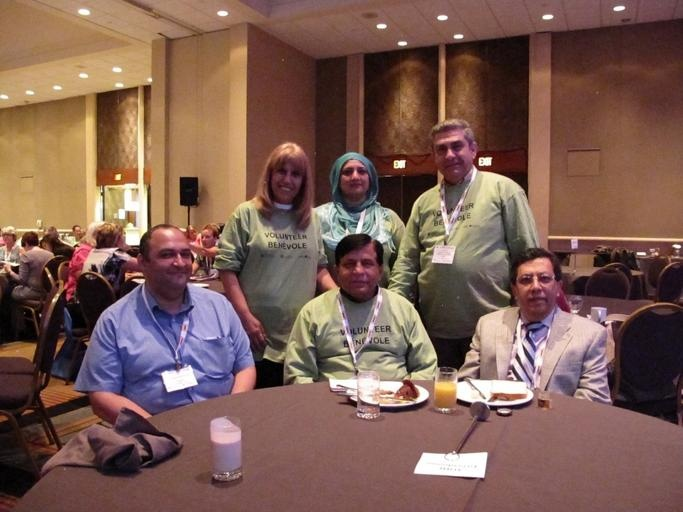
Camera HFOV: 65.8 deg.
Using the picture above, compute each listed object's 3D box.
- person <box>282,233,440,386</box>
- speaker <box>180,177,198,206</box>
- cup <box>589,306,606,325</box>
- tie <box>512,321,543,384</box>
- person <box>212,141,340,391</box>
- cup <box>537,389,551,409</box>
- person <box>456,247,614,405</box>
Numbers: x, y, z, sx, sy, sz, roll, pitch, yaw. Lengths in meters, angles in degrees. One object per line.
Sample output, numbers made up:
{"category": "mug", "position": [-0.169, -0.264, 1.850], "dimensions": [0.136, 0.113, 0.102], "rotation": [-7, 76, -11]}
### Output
{"category": "person", "position": [0.085, 0.300, 2.642], "dimensions": [0.726, 0.805, 0.420], "rotation": [0, -1, 2]}
{"category": "speaker", "position": [-2.606, -1.058, 9.012], "dimensions": [0.287, 0.496, 0.115], "rotation": [-1, 7, -11]}
{"category": "cup", "position": [1.597, 0.379, 3.305], "dimensions": [0.084, 0.095, 0.161], "rotation": [11, -3, 20]}
{"category": "tie", "position": [0.864, 0.446, 2.459], "dimensions": [0.119, 0.258, 0.163], "rotation": [5, 9, 35]}
{"category": "person", "position": [-0.366, 0.293, 3.130], "dimensions": [0.717, 1.874, 0.511], "rotation": [-1, 22, -17]}
{"category": "cup", "position": [0.766, 0.541, 1.999], "dimensions": [0.050, 0.062, 0.041], "rotation": [3, 2, 31]}
{"category": "person", "position": [0.932, 0.361, 2.628], "dimensions": [0.675, 0.778, 0.428], "rotation": [-2, -22, 33]}
